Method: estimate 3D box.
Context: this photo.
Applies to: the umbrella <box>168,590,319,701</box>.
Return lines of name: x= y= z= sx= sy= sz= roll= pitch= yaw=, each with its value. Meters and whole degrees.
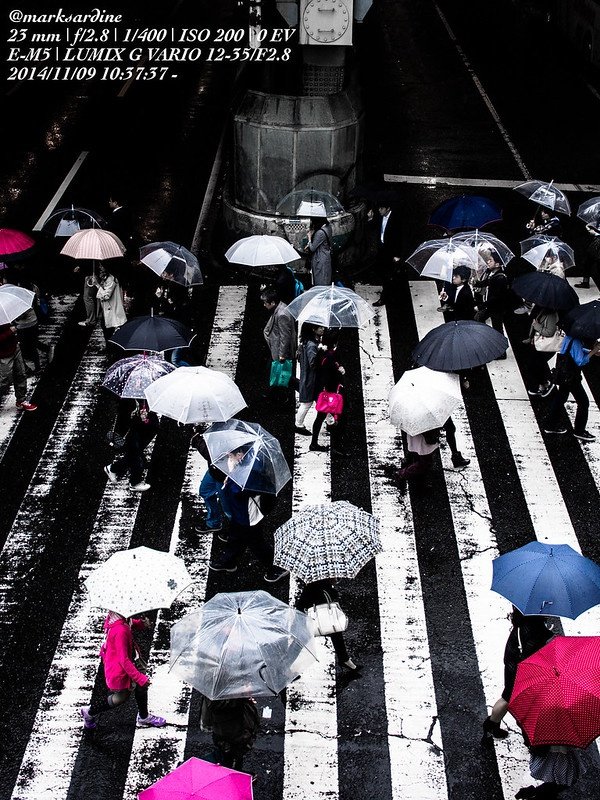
umbrella: x=-0.355 y=1.522 z=5.113 sx=0.894 sy=0.407 sz=0.727 roll=-2 pitch=37 yaw=-2

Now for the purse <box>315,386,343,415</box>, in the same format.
purse: x=0.319 y=0.006 z=9.328 sx=0.294 sy=0.439 sz=0.220 roll=4 pitch=13 yaw=1

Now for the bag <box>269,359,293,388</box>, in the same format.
bag: x=-0.234 y=-0.339 z=10.311 sx=0.227 sy=0.363 sz=0.145 roll=3 pitch=43 yaw=-3

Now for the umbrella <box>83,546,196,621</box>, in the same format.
umbrella: x=-1.080 y=1.233 z=5.619 sx=0.669 sy=0.266 sz=0.593 roll=11 pitch=39 yaw=15

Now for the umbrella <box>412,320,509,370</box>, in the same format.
umbrella: x=1.642 y=-0.568 z=8.761 sx=0.601 sy=0.286 sz=0.681 roll=19 pitch=52 yaw=33
